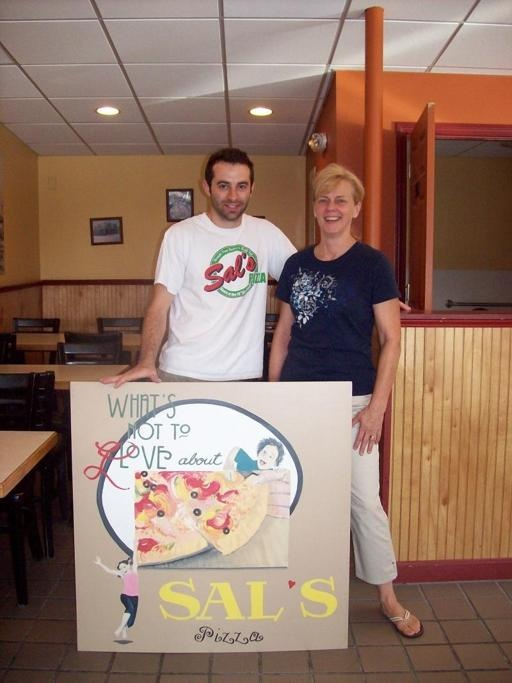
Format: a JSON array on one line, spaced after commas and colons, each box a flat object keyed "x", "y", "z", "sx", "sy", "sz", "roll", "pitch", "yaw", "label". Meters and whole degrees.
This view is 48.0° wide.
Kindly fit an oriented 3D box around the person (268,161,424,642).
[{"x": 0.283, "y": 0.135, "z": 1.995, "sx": 0.436, "sy": 1.464, "sz": 0.223, "roll": 1, "pitch": 7, "yaw": 4, "label": "person"}]

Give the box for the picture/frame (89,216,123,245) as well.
[{"x": -1.731, "y": -1.299, "z": 6.648, "sx": 0.319, "sy": 0.264, "sz": 0.024, "roll": 1, "pitch": 10, "yaw": -4, "label": "picture/frame"}]

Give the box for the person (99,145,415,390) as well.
[{"x": -0.097, "y": -0.254, "z": 1.952, "sx": 0.863, "sy": 0.807, "sz": 0.488, "roll": 5, "pitch": -7, "yaw": -32, "label": "person"}]
